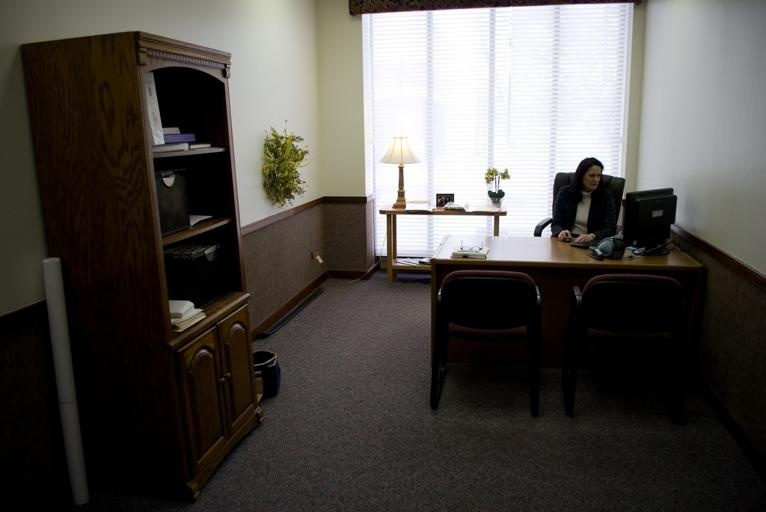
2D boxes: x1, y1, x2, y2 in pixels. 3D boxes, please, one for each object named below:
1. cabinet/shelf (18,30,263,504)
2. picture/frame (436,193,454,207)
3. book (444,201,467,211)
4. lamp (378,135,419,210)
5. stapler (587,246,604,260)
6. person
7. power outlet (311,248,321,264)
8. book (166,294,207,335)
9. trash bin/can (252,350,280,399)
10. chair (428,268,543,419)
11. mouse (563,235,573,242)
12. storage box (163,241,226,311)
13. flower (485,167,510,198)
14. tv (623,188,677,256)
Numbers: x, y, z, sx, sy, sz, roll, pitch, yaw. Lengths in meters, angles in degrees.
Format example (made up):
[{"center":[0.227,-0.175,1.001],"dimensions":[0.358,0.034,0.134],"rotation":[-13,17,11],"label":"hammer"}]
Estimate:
[{"center":[-1.469,0.033,3.551],"dimensions":[0.910,2.733,1.088],"rotation":[5,17,20],"label":"cabinet/shelf"},{"center":[0.751,-0.704,6.736],"dimensions":[0.270,0.238,0.146],"rotation":[0,4,5],"label":"picture/frame"},{"center":[0.855,-0.618,6.644],"dimensions":[0.260,0.069,0.194],"rotation":[1,17,5],"label":"book"},{"center":[0.209,-1.076,6.857],"dimensions":[0.451,0.831,0.596],"rotation":[0,16,1],"label":"lamp"},{"center":[1.746,-0.030,4.539],"dimensions":[0.073,0.094,0.249],"rotation":[-3,7,7],"label":"stapler"},{"center":[2.039,-0.603,5.543],"dimensions":[0.621,0.753,0.485],"rotation":[5,17,17],"label":"person"},{"center":[-0.827,-0.005,6.784],"dimensions":[0.038,0.136,0.149],"rotation":[-1,2,23],"label":"power outlet"},{"center":[-1.221,0.344,3.411],"dimensions":[0.175,0.066,0.181],"rotation":[-7,21,-18],"label":"book"},{"center":[-0.963,0.968,4.426],"dimensions":[0.276,0.259,0.233],"rotation":[0,-3,-10],"label":"trash bin/can"},{"center":[0.791,0.498,4.367],"dimensions":[1.005,1.292,0.978],"rotation":[1,20,7],"label":"chair"},{"center":[1.714,-0.173,5.092],"dimensions":[0.066,0.017,0.047],"rotation":[-3,28,-3],"label":"mouse"},{"center":[-1.264,0.116,3.783],"dimensions":[0.207,0.369,0.375],"rotation":[5,16,17],"label":"storage box"},{"center":[1.362,-0.853,6.636],"dimensions":[0.307,0.420,0.270],"rotation":[9,-3,-39],"label":"flower"},{"center":[2.306,-0.309,4.698],"dimensions":[0.465,0.486,0.228],"rotation":[-7,20,-15],"label":"tv"}]
